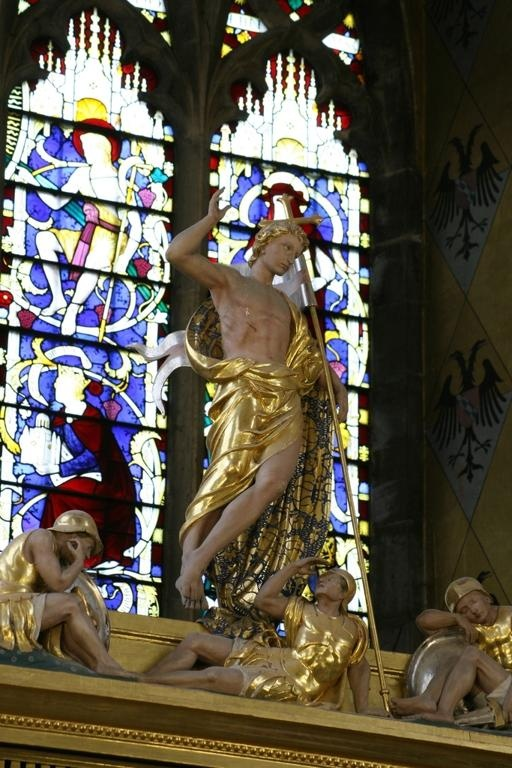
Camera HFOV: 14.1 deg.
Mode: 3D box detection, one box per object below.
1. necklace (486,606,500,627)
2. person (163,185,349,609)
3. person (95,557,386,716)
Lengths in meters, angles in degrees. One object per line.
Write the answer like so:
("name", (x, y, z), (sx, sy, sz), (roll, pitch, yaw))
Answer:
("necklace", (0.984, 0.950, 8.447), (0.028, 0.069, 0.052), (12, 7, 5))
("person", (-0.033, 0.101, 8.537), (0.465, 1.784, 0.819), (-6, -18, 25))
("person", (-0.076, 0.994, 7.795), (1.189, 0.678, 0.403), (8, -30, -10))
